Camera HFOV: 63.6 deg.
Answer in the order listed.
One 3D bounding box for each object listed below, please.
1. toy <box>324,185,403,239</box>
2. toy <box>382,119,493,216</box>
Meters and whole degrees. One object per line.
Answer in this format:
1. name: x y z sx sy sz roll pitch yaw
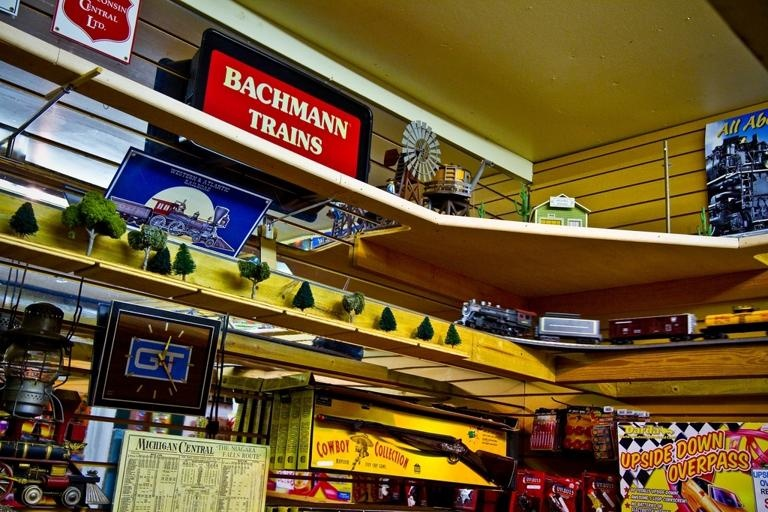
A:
1. toy: -0.398 -0.448 7.702 0.617 0.623 0.919 19 -28 -27
2. toy: 0.478 -0.977 7.620 1.164 1.005 0.708 26 -33 -37
